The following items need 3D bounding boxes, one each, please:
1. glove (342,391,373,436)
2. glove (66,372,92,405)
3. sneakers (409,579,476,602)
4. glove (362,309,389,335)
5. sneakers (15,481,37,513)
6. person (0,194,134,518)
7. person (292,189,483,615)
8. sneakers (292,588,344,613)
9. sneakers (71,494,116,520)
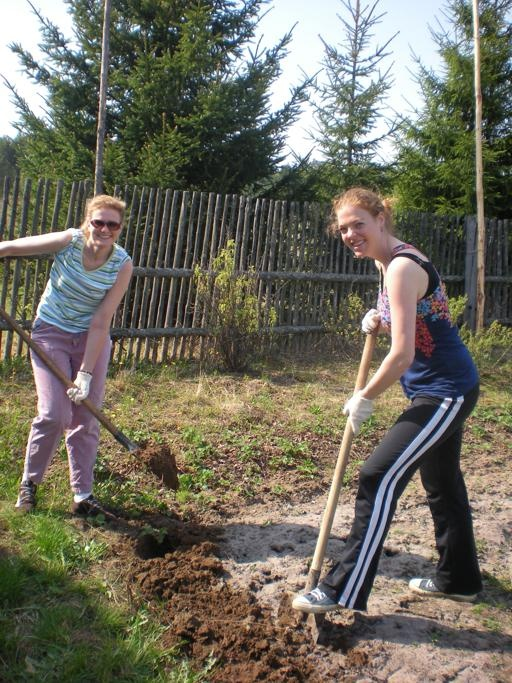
[{"bbox_3d":[0.518,0.339,3.373,0.070,0.192,0.152,15,19,-23],"label":"glove"},{"bbox_3d":[-0.936,0.255,3.839,0.137,0.157,0.070,35,-28,-15],"label":"glove"},{"bbox_3d":[0.971,1.265,3.694,0.338,0.120,0.121,6,-2,14],"label":"sneakers"},{"bbox_3d":[0.667,-0.092,3.759,0.062,0.112,0.157,8,14,-26],"label":"glove"},{"bbox_3d":[-1.252,0.841,3.885,0.098,0.167,0.125,6,-1,-18],"label":"sneakers"},{"bbox_3d":[-1.042,0.063,3.925,0.555,1.800,0.427,6,-1,-39],"label":"person"},{"bbox_3d":[0.739,0.313,3.395,0.810,1.836,0.534,6,-1,-40],"label":"person"},{"bbox_3d":[0.291,1.200,3.320,0.247,0.091,0.093,6,-11,0],"label":"sneakers"},{"bbox_3d":[-0.863,0.929,4.013,0.302,0.114,0.097,9,3,0],"label":"sneakers"}]
